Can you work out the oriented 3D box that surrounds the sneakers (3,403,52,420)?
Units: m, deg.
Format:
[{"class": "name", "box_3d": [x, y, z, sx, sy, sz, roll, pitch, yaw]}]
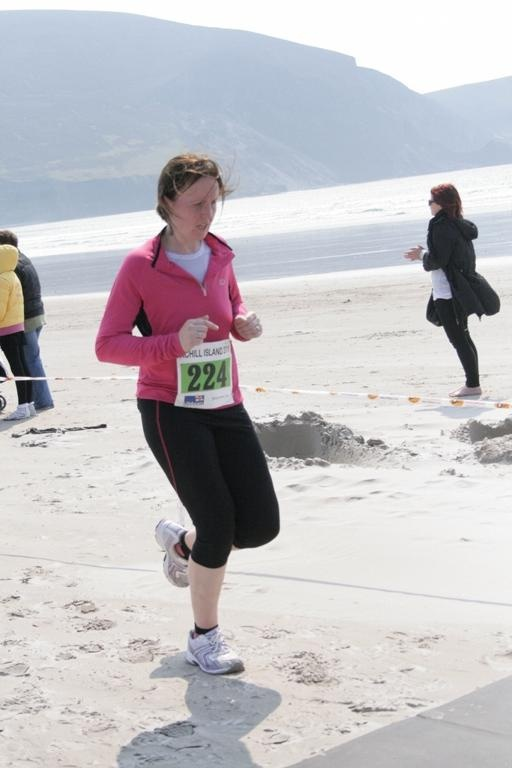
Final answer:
[{"class": "sneakers", "box_3d": [-2.246, 0.256, 7.865, 0.420, 0.155, 0.146, -4, 11, -33]}]

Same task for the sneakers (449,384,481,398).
[{"class": "sneakers", "box_3d": [1.810, 0.060, 6.941, 0.326, 0.108, 0.100, -1, -3, -2]}]

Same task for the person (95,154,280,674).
[{"class": "person", "box_3d": [-0.234, 0.093, 2.775, 0.557, 1.727, 0.550, -5, 11, 5]}]

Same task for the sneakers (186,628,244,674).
[{"class": "sneakers", "box_3d": [-0.148, 0.907, 2.758, 0.235, 0.102, 0.100, 3, 0, 44]}]

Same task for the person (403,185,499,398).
[{"class": "person", "box_3d": [1.761, -0.847, 7.027, 0.738, 1.828, 0.764, -9, 12, -14]}]
